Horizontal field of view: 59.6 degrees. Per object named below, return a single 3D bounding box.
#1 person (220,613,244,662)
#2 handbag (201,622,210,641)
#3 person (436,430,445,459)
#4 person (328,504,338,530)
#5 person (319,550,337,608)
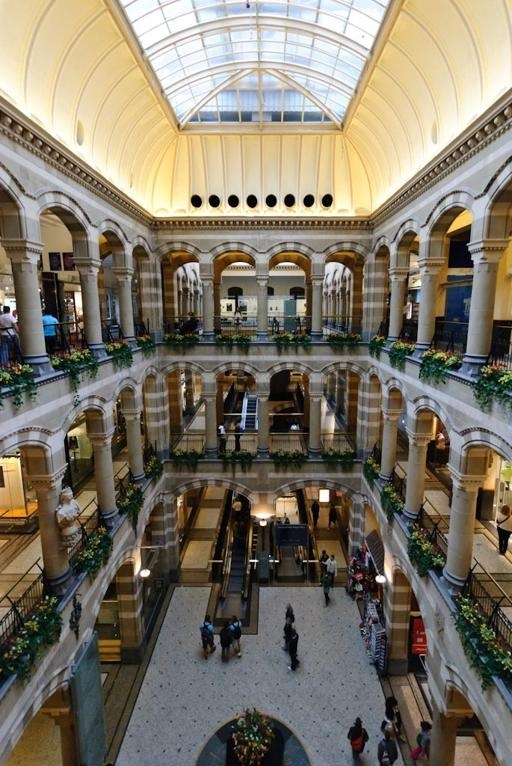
[{"bbox_3d":[-0.673,7.017,12.353,0.524,1.198,0.831,-1,6,-3],"label":"person"},{"bbox_3d":[-1.336,6.823,12.288,0.286,0.529,0.166,-1,5,-6],"label":"handbag"},{"bbox_3d":[6.172,2.168,14.901,0.350,0.836,0.510,2,6,21],"label":"person"},{"bbox_3d":[3.417,5.828,19.583,0.353,0.849,1.059,1,6,11],"label":"person"},{"bbox_3d":[2.468,6.487,15.273,0.509,1.380,1.748,1,6,9],"label":"person"}]
